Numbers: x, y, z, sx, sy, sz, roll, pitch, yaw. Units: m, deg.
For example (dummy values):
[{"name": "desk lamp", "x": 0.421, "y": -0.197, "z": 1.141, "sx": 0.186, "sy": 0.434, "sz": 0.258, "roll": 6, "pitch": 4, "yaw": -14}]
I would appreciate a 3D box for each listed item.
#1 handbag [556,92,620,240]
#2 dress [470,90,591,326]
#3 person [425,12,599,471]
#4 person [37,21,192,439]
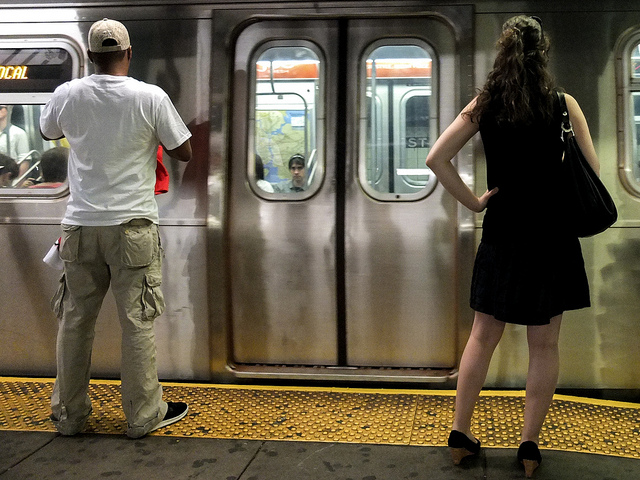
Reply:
[{"name": "handbag", "x": 1.325, "y": -0.376, "z": 2.943, "sx": 0.330, "sy": 0.708, "sz": 0.179, "roll": 7, "pitch": 18, "yaw": 28}, {"name": "dress", "x": 1.045, "y": -0.209, "z": 3.223, "sx": 0.636, "sy": 1.150, "sz": 0.646, "roll": 5, "pitch": 8, "yaw": 10}, {"name": "person", "x": 1.002, "y": 0.050, "z": 3.092, "sx": 0.802, "sy": 2.349, "sz": 0.635, "roll": 5, "pitch": 17, "yaw": 23}, {"name": "person", "x": -1.236, "y": -0.052, "z": 3.492, "sx": 0.949, "sy": 2.404, "sz": 0.709, "roll": -4, "pitch": 16, "yaw": -9}]
